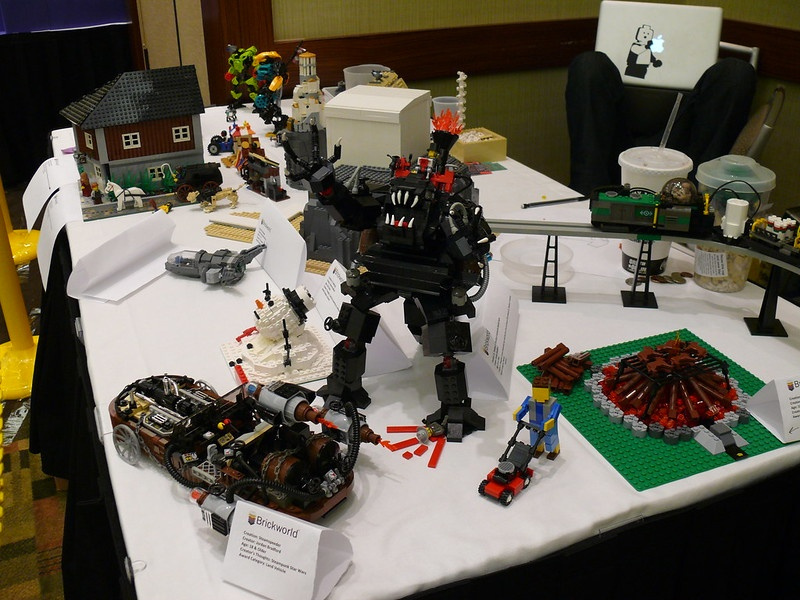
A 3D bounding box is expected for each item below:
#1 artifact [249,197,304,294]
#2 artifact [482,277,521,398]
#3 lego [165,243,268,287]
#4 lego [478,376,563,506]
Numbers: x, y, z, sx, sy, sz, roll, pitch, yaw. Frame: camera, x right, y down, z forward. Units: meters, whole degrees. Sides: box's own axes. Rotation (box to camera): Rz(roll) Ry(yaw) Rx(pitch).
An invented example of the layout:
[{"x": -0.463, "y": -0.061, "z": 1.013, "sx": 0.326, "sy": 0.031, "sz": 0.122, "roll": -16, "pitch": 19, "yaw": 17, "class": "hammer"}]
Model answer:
[{"x": -0.518, "y": -0.217, "z": 2.315, "sx": 0.092, "sy": 0.254, "sz": 0.409, "roll": -8, "pitch": 41, "yaw": -28, "class": "artifact"}, {"x": 0.359, "y": 0.126, "z": 1.902, "sx": 0.103, "sy": 0.221, "sz": 0.339, "roll": 23, "pitch": 56, "yaw": -22, "class": "artifact"}, {"x": -0.856, "y": -0.169, "z": 2.480, "sx": 0.332, "sy": 0.116, "sz": 0.237, "roll": 9, "pitch": 29, "yaw": 15, "class": "lego"}, {"x": 0.358, "y": 0.413, "z": 1.613, "sx": 0.117, "sy": 0.257, "sz": 0.361, "roll": 9, "pitch": 23, "yaw": 39, "class": "lego"}]
